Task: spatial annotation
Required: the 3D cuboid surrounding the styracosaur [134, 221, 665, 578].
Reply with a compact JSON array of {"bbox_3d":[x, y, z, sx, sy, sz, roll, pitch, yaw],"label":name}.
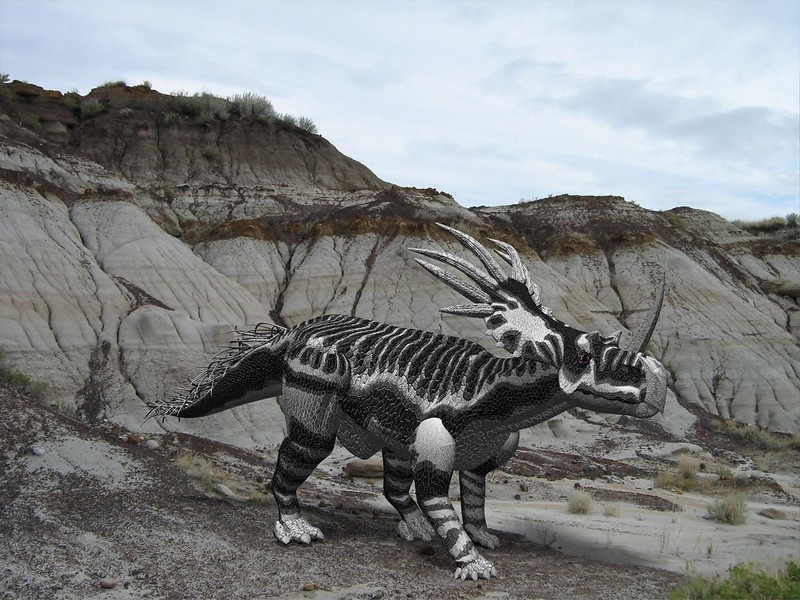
[{"bbox_3d":[0.329,2.262,17.386,4.826,5.758,14.132,7,-10,-34],"label":"styracosaur"}]
